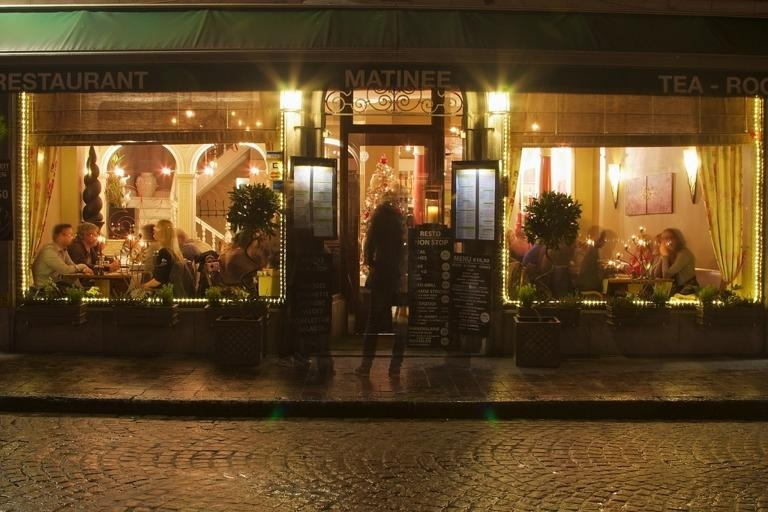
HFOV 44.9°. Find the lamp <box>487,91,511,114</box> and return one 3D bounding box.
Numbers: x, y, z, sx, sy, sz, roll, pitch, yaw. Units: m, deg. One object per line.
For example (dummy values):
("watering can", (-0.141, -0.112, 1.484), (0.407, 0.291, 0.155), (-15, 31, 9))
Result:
("lamp", (1.813, -2.413, 14.696), (0.338, 0.300, 0.330), (-2, 5, -35))

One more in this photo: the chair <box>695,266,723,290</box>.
("chair", (5.339, 0.369, 15.305), (0.327, 0.312, 0.323), (0, -24, 21))

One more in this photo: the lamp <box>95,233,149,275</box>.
("lamp", (-4.521, -0.036, 15.627), (0.517, 0.610, 0.957), (-3, -2, 40))

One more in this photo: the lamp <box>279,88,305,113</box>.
("lamp", (-1.455, -2.457, 14.714), (0.352, 0.332, 0.344), (-1, 4, -9))
